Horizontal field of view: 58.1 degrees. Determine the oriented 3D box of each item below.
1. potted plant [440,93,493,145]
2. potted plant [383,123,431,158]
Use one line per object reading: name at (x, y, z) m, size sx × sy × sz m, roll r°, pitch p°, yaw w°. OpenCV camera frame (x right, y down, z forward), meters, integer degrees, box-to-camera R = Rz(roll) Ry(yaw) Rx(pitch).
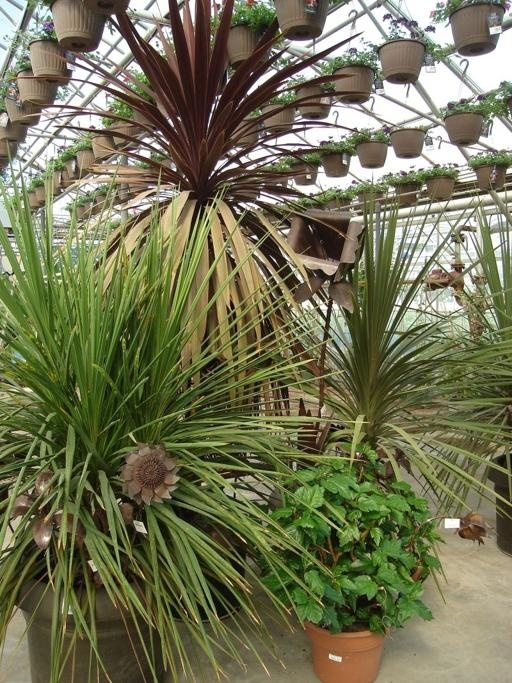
potted plant at (1.546, -1.690, 3.493) m, size 0.364 × 0.336 × 0.364 m, roll 1°, pitch -21°, yaw 17°
potted plant at (1.224, -1.611, 3.780) m, size 0.268 × 0.165 × 0.250 m, roll 0°, pitch -1°, yaw -3°
